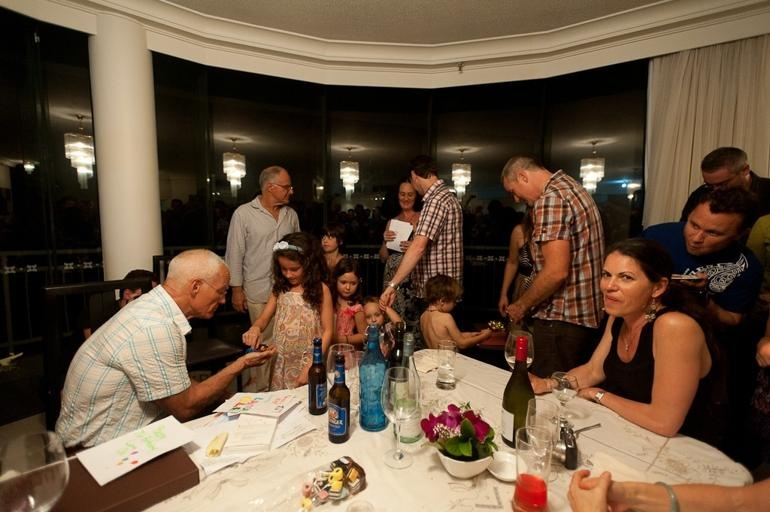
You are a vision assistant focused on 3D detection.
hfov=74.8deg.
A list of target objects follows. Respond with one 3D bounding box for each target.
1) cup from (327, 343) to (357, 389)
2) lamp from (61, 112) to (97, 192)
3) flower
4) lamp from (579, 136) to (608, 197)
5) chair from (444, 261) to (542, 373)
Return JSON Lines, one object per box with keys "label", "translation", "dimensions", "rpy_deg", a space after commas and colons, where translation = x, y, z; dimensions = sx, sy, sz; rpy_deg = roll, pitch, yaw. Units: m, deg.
{"label": "cup", "translation": [-0.265, 0.640, 3.023], "dimensions": [0.160, 0.153, 0.201], "rpy_deg": [11, 34, -27]}
{"label": "lamp", "translation": [-2.786, -0.961, 4.662], "dimensions": [0.250, 0.665, 0.245], "rpy_deg": [-10, 22, -43]}
{"label": "flower", "translation": [0.373, 0.905, 2.610], "dimensions": [0.287, 0.125, 0.302], "rpy_deg": [4, 14, 23]}
{"label": "lamp", "translation": [2.151, -0.950, 5.142], "dimensions": [0.147, 0.391, 0.144], "rpy_deg": [-21, 17, -39]}
{"label": "chair", "translation": [1.135, 0.483, 5.262], "dimensions": [1.407, 0.664, 0.869], "rpy_deg": [3, 2, -1]}
